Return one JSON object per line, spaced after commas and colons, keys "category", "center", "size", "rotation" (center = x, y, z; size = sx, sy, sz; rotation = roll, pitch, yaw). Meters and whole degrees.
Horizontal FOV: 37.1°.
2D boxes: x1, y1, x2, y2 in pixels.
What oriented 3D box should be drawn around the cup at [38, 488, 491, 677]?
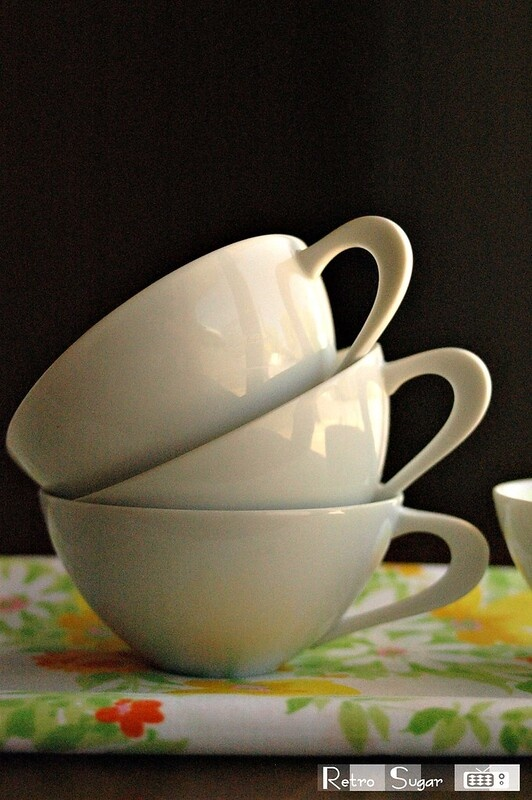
{"category": "cup", "center": [0.003, 0.107, 0.460], "size": [0.250, 0.095, 0.181], "rotation": [2, -7, -1]}
